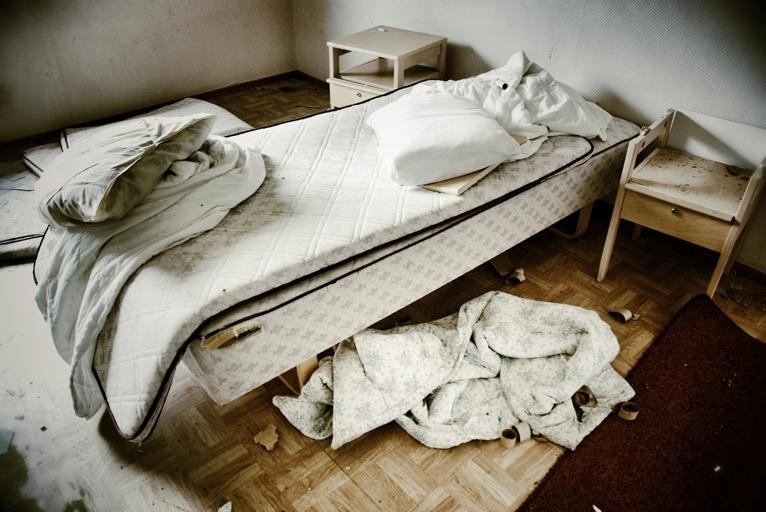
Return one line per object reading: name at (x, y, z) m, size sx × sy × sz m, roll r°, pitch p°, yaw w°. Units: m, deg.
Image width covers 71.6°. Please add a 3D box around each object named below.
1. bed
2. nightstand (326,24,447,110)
bed at (-0.015, -0.012, 2.491) m, size 2.404 × 0.591 × 1.161 m, roll -31°, pitch 56°, yaw -18°
nightstand at (0.023, -1.141, 3.477) m, size 0.555 × 0.546 × 0.554 m, roll 22°, pitch 41°, yaw 29°
